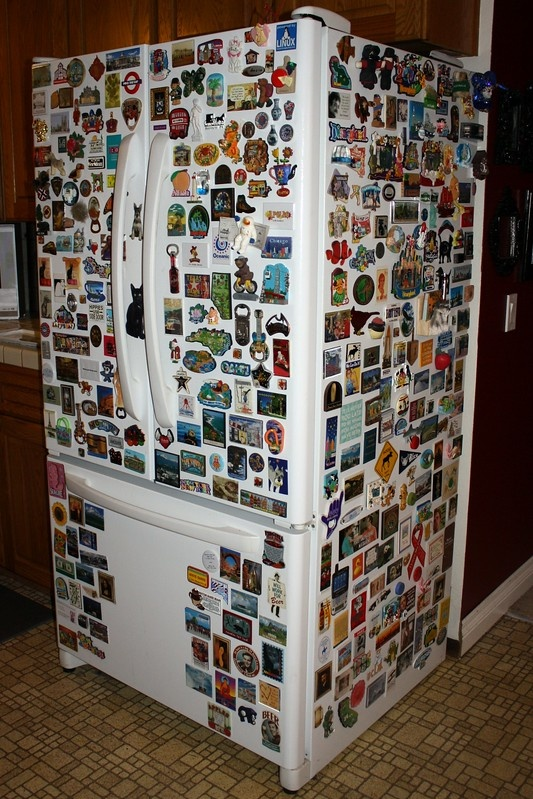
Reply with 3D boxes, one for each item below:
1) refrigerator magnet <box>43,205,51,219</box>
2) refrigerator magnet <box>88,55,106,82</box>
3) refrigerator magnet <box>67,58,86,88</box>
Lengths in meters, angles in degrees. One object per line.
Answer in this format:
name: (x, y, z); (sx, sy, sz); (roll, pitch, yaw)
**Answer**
refrigerator magnet: (-0.556, -0.472, 1.616); (0.008, 0.033, 0.031); (-7, -28, -50)
refrigerator magnet: (-0.371, -0.726, 1.402); (0.008, 0.062, 0.050); (-18, 33, -39)
refrigerator magnet: (-0.430, -0.743, 1.455); (0.006, 0.069, 0.062); (-13, 27, -38)
